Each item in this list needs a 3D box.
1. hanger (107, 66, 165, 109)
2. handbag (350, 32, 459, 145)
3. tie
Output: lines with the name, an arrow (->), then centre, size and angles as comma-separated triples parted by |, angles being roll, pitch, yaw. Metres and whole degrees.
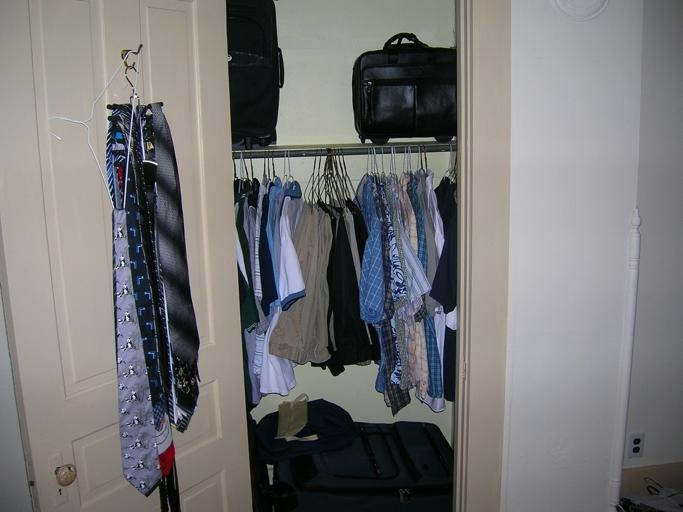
hanger -> -0.730, -0.589, 2.154 | 0.184, 0.223, 0.009 | -12, 18, -39
handbag -> 0.340, -0.807, 3.066 | 0.512, 0.598, 0.310 | -1, 1, -2
tie -> -0.609, 0.134, 1.971 | 0.263, 1.216, 0.166 | -6, 9, -16
